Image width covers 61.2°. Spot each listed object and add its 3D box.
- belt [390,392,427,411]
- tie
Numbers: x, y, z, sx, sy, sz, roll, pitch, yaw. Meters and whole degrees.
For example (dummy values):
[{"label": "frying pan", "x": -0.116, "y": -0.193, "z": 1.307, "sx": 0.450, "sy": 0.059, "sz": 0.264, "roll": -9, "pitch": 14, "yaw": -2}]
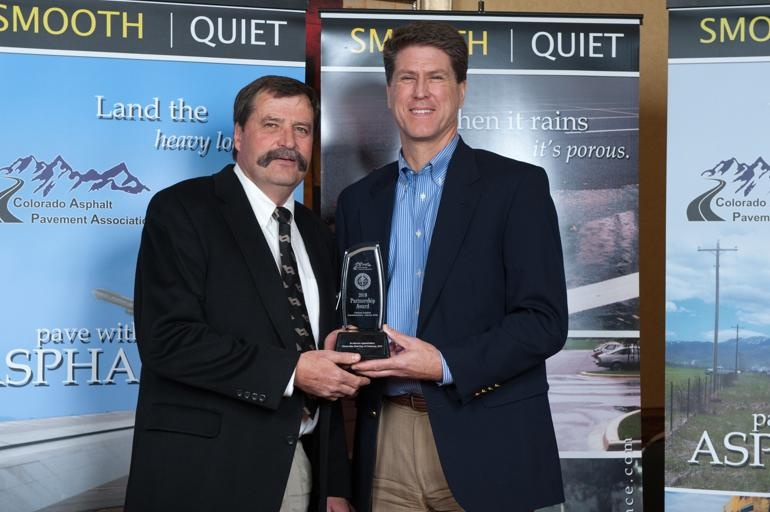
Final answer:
[{"label": "belt", "x": 0.109, "y": 0.685, "z": 3.073, "sx": 0.119, "sy": 0.033, "sz": 0.085, "roll": 3, "pitch": 0, "yaw": 9}, {"label": "tie", "x": -0.450, "y": 0.258, "z": 3.087, "sx": 0.179, "sy": 0.968, "sz": 0.149, "roll": -13, "pitch": -5, "yaw": -15}]
